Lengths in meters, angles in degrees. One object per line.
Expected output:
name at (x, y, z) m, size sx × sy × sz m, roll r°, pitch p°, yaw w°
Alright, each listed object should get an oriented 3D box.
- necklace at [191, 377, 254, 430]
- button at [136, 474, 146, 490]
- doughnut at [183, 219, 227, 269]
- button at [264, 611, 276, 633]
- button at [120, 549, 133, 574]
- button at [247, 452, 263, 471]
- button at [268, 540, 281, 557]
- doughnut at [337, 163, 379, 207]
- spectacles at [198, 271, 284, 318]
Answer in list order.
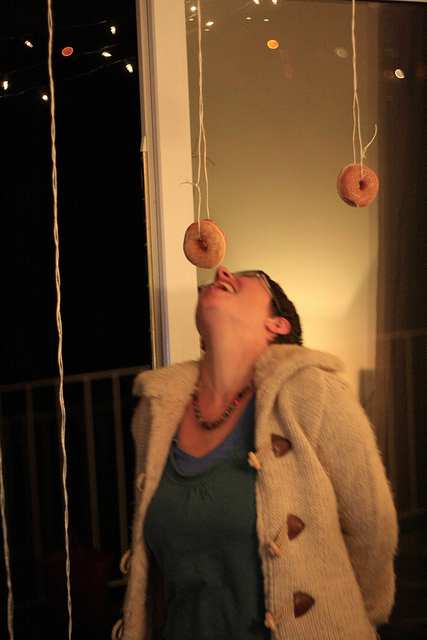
necklace at (0.009, 0.165, 1.252) m, size 0.079 × 0.111 × 0.026 m, roll 3°, pitch -21°, yaw 42°
button at (-0.136, 0.297, 1.286) m, size 0.014 × 0.031 × 0.061 m, roll -2°, pitch 5°, yaw -10°
doughnut at (-0.021, -0.151, 1.395) m, size 0.095 × 0.103 × 0.031 m, roll 13°, pitch 31°, yaw -12°
button at (0.091, 0.477, 1.093) m, size 0.007 × 0.028 × 0.027 m, roll -18°, pitch -7°, yaw 8°
button at (-0.167, 0.461, 1.323) m, size 0.014 × 0.053 × 0.043 m, roll 4°, pitch -13°, yaw -4°
button at (0.068, 0.231, 1.141) m, size 0.007 × 0.023 × 0.024 m, roll -24°, pitch 1°, yaw -1°
button at (0.099, 0.363, 1.101) m, size 0.018 × 0.019 × 0.004 m, roll -3°, pitch -13°, yaw -18°
doughnut at (0.287, -0.259, 1.352) m, size 0.079 × 0.082 × 0.022 m, roll -6°, pitch 3°, yaw -15°
spectacles at (0.053, -0.051, 1.328) m, size 0.156 × 0.088 × 0.083 m, roll -2°, pitch 4°, yaw -4°
